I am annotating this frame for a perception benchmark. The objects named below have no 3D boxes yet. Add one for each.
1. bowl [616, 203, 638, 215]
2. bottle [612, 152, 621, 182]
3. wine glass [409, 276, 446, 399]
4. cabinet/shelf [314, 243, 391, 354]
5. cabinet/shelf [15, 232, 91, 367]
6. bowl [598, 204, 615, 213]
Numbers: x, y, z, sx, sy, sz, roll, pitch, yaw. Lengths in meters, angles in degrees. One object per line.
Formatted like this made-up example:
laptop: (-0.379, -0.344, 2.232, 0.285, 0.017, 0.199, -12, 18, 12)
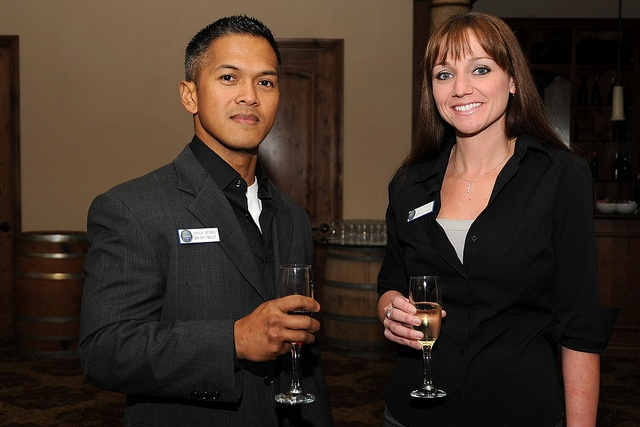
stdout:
bowl: (3.305, -0.061, 5.976, 0.150, 0.078, 0.153, -1, -2, 0)
bottle: (4.160, -0.665, 7.757, 0.135, 0.379, 0.072, -1, 2, -23)
wine glass: (0.454, 0.526, 2.316, 0.154, 0.544, 0.157, 0, 2, 11)
cabinet/shelf: (0.305, 0.819, 5.941, 0.966, 1.336, 0.960, 0, 3, -1)
cabinet/shelf: (-2.708, 0.806, 5.859, 0.864, 1.270, 0.883, 2, 3, 12)
bowl: (3.133, -0.066, 6.039, 0.126, 0.073, 0.127, -1, -1, 0)
